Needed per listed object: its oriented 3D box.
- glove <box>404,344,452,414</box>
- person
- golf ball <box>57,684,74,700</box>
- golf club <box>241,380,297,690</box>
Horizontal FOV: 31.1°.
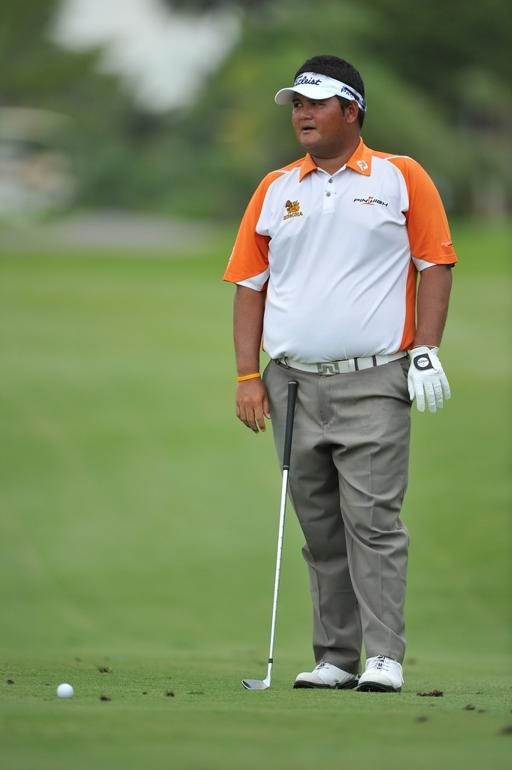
[{"bbox_3d":[0.365,-0.012,1.965,0.094,0.137,0.046,-5,-13,-16],"label":"glove"},{"bbox_3d":[0.201,0.016,2.051,0.540,1.324,0.523,-1,2,2],"label":"person"},{"bbox_3d":[-0.382,0.616,1.842,0.032,0.030,0.028,4,16,13],"label":"golf ball"},{"bbox_3d":[0.040,0.328,2.059,0.173,0.627,0.182,-2,3,-38],"label":"golf club"}]
